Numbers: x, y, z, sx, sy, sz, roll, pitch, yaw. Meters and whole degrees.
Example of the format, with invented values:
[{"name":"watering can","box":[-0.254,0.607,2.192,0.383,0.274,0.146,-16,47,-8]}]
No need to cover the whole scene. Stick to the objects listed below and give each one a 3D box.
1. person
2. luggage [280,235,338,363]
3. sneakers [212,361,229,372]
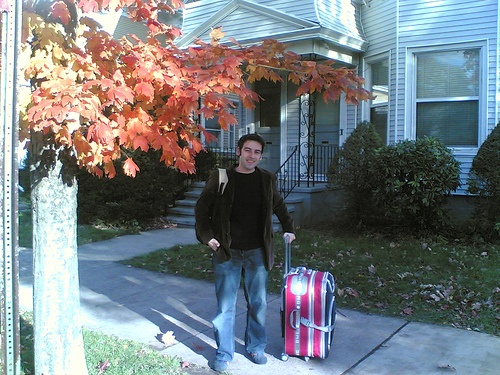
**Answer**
[{"name":"person","box":[-0.113,0.613,3.550,0.790,2.221,0.408,-2,6,-10]},{"name":"luggage","box":[0.677,1.203,4.371,0.794,1.874,0.748,0,2,13]},{"name":"sneakers","box":[-0.281,1.678,3.476,0.154,0.090,0.114,-1,6,-6]}]
